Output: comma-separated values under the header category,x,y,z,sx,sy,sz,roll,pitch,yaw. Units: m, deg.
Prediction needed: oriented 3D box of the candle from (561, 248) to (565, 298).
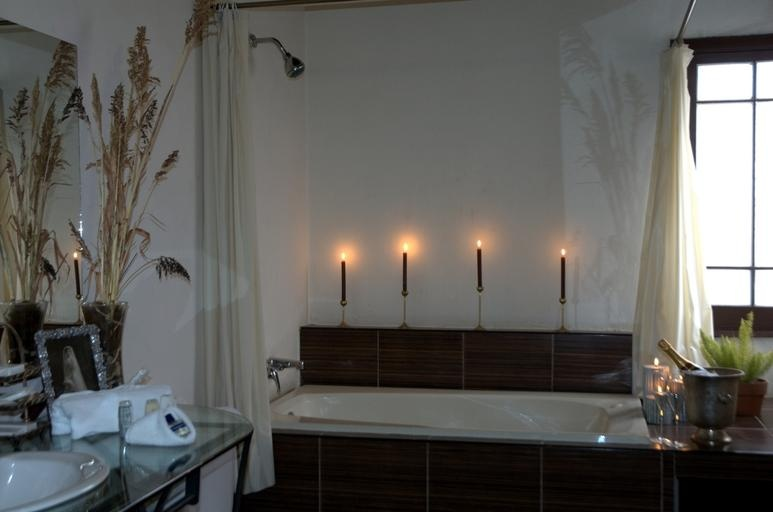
category,x,y,z,sx,sy,sz,roll,pitch,yaw
candle,1.208,0.130,3.926,0.038,0.351,0.063,-1,-1,22

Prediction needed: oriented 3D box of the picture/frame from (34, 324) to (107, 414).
category,x,y,z,sx,sy,sz,roll,pitch,yaw
picture/frame,-1.188,0.428,2.148,0.027,0.324,0.281,-13,-2,32

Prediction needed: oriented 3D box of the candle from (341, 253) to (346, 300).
category,x,y,z,sx,sy,sz,roll,pitch,yaw
candle,-0.307,0.178,4.174,0.037,0.333,0.089,-1,-1,-6

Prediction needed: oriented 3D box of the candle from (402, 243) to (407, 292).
category,x,y,z,sx,sy,sz,roll,pitch,yaw
candle,0.137,0.106,4.101,0.042,0.374,0.096,-1,-1,1

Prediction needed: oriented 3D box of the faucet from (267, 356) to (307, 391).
category,x,y,z,sx,sy,sz,roll,pitch,yaw
faucet,-0.654,0.752,3.670,0.199,0.261,0.590,0,-2,-12

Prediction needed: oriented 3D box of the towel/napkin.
category,x,y,z,sx,sy,sz,roll,pitch,yaw
towel/napkin,-1.008,0.524,2.088,0.328,0.127,0.191,-3,-2,-32

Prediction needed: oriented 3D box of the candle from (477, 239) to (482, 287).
category,x,y,z,sx,sy,sz,roll,pitch,yaw
candle,0.654,0.072,4.015,0.036,0.343,0.075,-1,-1,13
